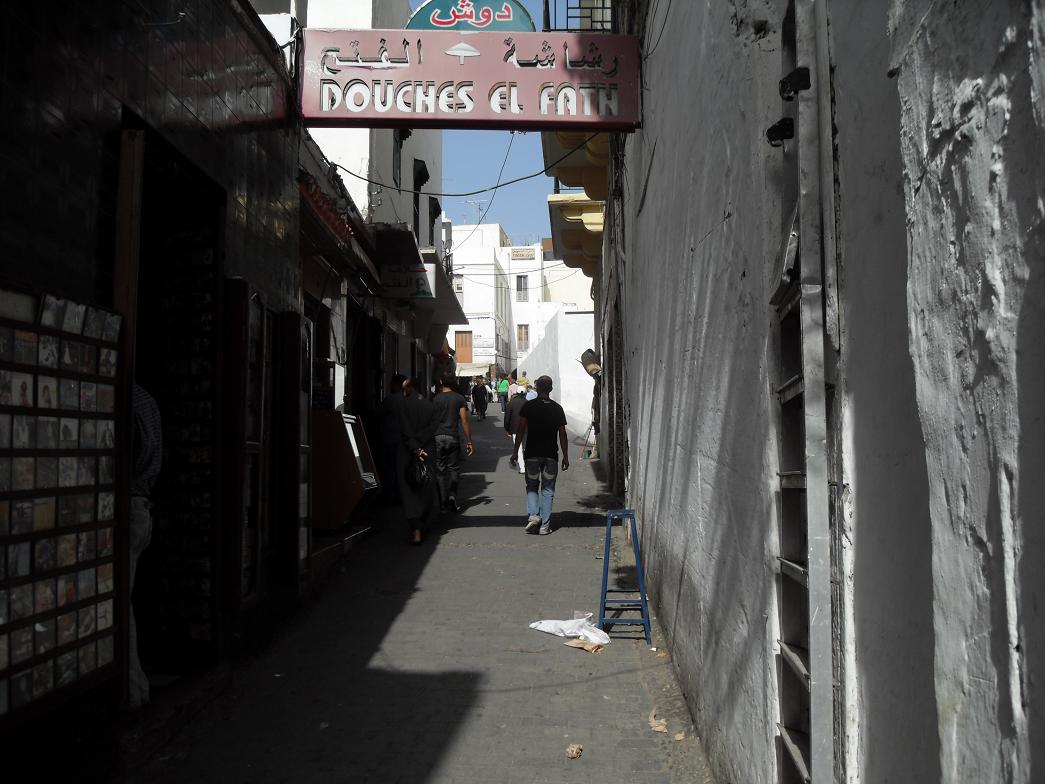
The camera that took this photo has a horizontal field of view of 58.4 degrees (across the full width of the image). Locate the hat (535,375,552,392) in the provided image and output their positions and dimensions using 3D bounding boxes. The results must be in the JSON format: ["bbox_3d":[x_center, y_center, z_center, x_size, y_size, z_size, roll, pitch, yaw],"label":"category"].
[{"bbox_3d":[0.236,-0.122,10.699,0.123,0.207,0.180,4,22,5],"label":"hat"}]

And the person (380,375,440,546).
[{"bbox_3d":[-1.259,0.804,10.384,0.595,1.592,0.669,1,2,24],"label":"person"}]
